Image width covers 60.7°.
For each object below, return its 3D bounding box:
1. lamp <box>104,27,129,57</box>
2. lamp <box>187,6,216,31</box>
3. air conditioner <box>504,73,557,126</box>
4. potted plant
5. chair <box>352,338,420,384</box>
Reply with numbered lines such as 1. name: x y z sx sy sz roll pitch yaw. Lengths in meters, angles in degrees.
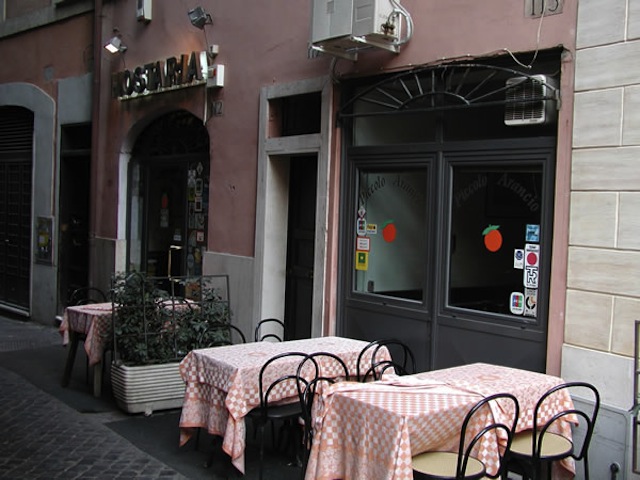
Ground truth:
1. lamp: -3.414 -3.348 9.228 0.356 0.606 0.300 15 -23 -39
2. lamp: -1.739 -3.205 7.822 0.424 0.343 0.305 1 0 35
3. air conditioner: 1.922 -1.267 4.934 0.221 0.472 0.410 -2 3 -34
4. potted plant: -1.553 1.120 5.806 1.240 1.574 0.463 0 -2 -39
5. chair: 0.511 1.147 5.263 0.533 0.335 0.544 0 2 -37
